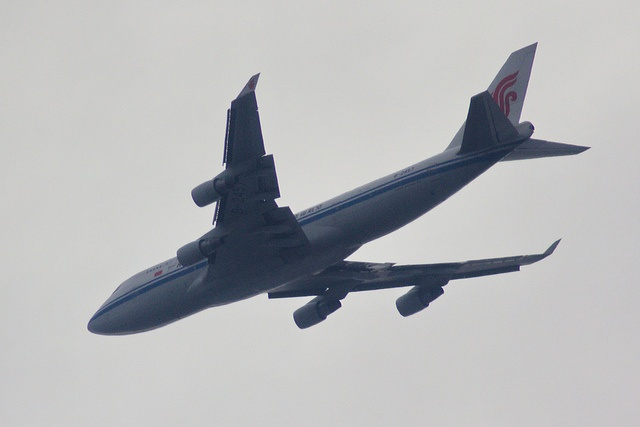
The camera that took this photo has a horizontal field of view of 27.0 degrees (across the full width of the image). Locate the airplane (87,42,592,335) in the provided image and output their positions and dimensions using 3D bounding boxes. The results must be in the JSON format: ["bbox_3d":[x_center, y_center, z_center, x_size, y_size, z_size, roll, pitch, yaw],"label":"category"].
[{"bbox_3d":[-0.474,0.308,40.791,12.484,2.944,10.073,-28,-45,26],"label":"airplane"}]
